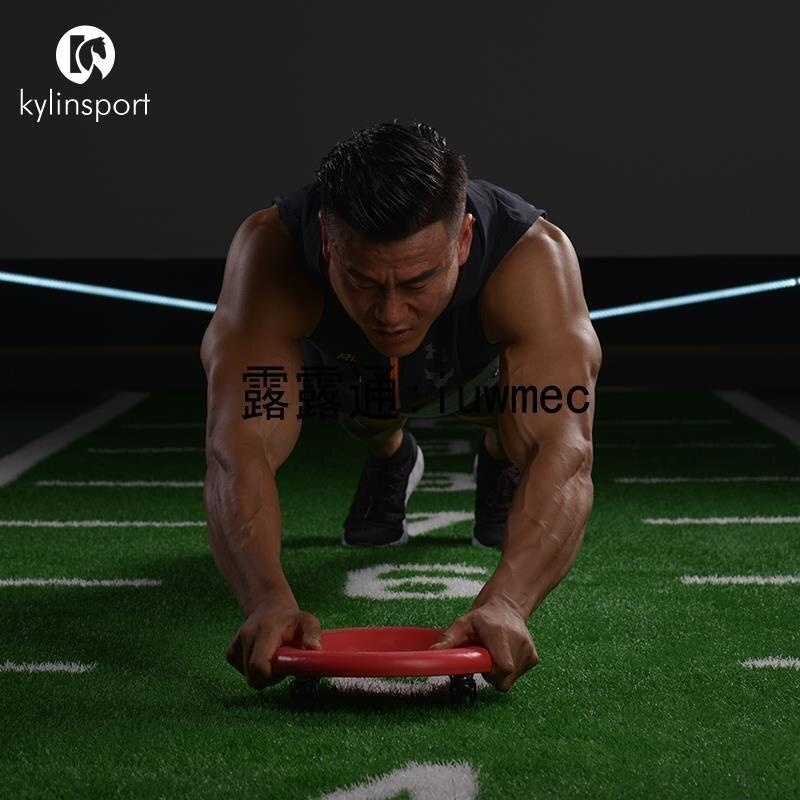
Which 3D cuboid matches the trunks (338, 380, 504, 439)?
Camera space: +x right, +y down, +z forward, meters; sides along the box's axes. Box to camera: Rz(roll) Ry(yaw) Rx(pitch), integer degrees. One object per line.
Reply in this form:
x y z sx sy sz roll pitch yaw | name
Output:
0.061 -0.007 1.676 0.186 0.055 0.217 -4 -22 34 | trunks

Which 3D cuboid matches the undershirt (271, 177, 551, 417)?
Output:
0.010 -0.074 1.417 0.447 0.176 0.443 -1 -23 7 | undershirt

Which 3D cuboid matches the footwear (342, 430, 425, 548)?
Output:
-0.025 0.203 1.971 0.115 0.126 0.314 3 35 13 | footwear
